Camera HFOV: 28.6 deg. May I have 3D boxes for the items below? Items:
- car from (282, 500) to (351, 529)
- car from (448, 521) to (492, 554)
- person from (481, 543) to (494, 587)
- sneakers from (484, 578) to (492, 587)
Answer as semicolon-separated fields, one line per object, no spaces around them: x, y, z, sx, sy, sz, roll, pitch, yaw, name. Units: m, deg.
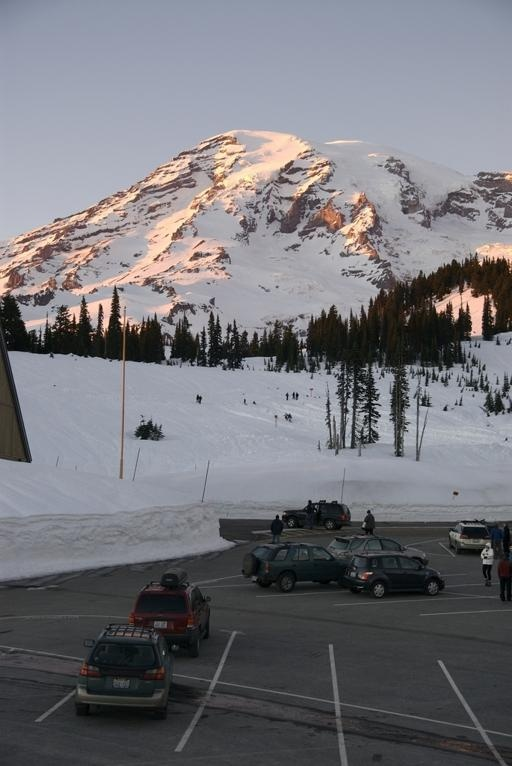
3.169;6.839;51.659;3.296;1.540;1.510;4;-2;15;car
8.800;6.523;41.510;1.203;1.140;2.633;-1;1;8;car
7.152;5.668;31.197;0.417;0.963;1.083;13;8;18;person
7.224;6.243;31.216;0.150;0.269;0.282;-5;1;-2;sneakers
